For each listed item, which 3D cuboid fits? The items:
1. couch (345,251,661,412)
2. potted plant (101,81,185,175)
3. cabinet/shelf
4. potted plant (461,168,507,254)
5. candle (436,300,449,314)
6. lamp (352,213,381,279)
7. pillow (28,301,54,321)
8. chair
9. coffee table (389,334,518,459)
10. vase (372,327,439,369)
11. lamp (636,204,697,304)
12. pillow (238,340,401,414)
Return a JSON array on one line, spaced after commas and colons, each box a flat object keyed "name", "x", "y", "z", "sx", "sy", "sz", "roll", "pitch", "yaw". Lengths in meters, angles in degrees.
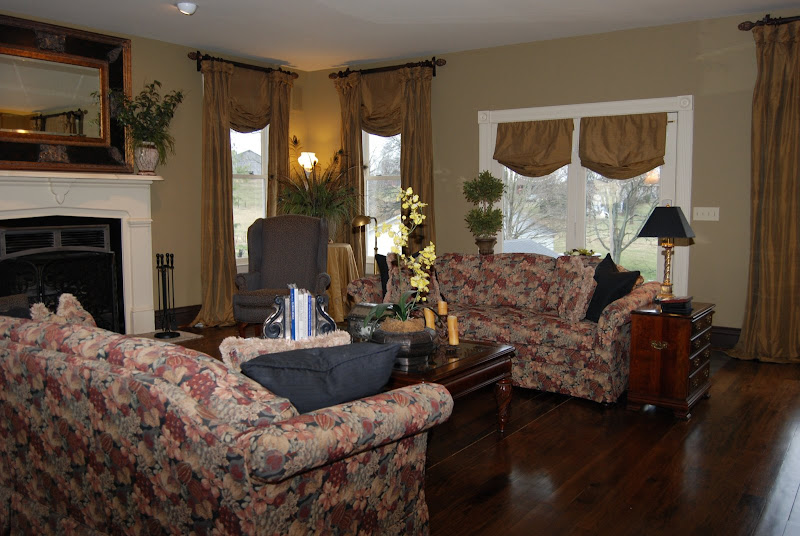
[{"name": "couch", "x": 0.986, "y": 0.467, "z": 5.308, "sx": 2.389, "sy": 1.155, "sz": 0.829, "roll": 7, "pitch": 6, "yaw": 36}, {"name": "potted plant", "x": -2.796, "y": -1.438, "z": 6.473, "sx": 0.694, "sy": 0.726, "sz": 0.530, "roll": -2, "pitch": 7, "yaw": -1}, {"name": "cabinet/shelf", "x": 2.125, "y": 0.663, "z": 4.575, "sx": 0.567, "sy": 0.855, "sz": 0.653, "roll": 6, "pitch": 13, "yaw": 31}, {"name": "potted plant", "x": 0.797, "y": -0.538, "z": 6.286, "sx": 0.512, "sy": 0.905, "sz": 0.495, "roll": -17, "pitch": 1, "yaw": -10}, {"name": "candle", "x": 0.309, "y": 0.290, "z": 4.178, "sx": 0.100, "sy": 0.116, "sz": 0.101, "roll": 0, "pitch": -3, "yaw": 0}, {"name": "lamp", "x": -0.389, "y": -0.193, "z": 7.122, "sx": 0.386, "sy": 0.988, "sz": 0.269, "roll": 9, "pitch": 25, "yaw": 16}, {"name": "pillow", "x": -1.889, "y": 0.238, "z": 3.047, "sx": 0.119, "sy": 0.049, "sz": 0.124, "roll": 4, "pitch": 3, "yaw": -14}, {"name": "chair", "x": -1.225, "y": 0.061, "z": 6.196, "sx": 0.963, "sy": 1.192, "sz": 1.057, "roll": 3, "pitch": 2, "yaw": 8}, {"name": "coffee table", "x": 0.246, "y": 0.899, "z": 4.002, "sx": 0.962, "sy": 0.623, "sz": 0.694, "roll": -7, "pitch": 8, "yaw": -44}, {"name": "vase", "x": 0.032, "y": 0.519, "z": 3.798, "sx": 0.435, "sy": 0.212, "sz": 0.433, "roll": -3, "pitch": 5, "yaw": 24}, {"name": "lamp", "x": 2.178, "y": -0.089, "z": 4.712, "sx": 0.514, "sy": 0.762, "sz": 0.513, "roll": 4, "pitch": -9, "yaw": -2}, {"name": "pillow", "x": -0.346, "y": 0.480, "z": 2.597, "sx": 0.376, "sy": 0.122, "sz": 0.402, "roll": -3, "pitch": 0, "yaw": 44}]
